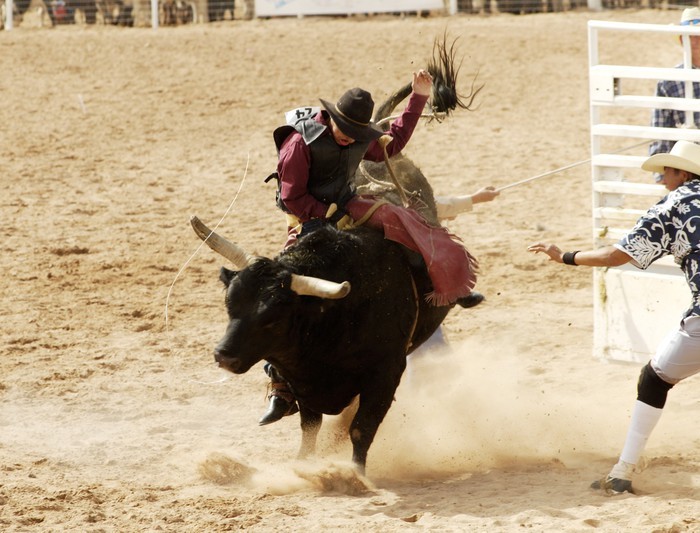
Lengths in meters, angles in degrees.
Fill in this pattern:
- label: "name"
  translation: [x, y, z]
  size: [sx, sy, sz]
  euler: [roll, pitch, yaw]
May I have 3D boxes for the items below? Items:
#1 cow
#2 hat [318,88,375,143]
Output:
- label: "cow"
  translation: [0.063, 0.045, 13.622]
  size: [1.758, 3.683, 2.918]
  euler: [6, 12, 27]
- label: "hat"
  translation: [0.030, -1.448, 13.430]
  size: [0.510, 0.218, 0.520]
  euler: [27, 26, -38]
